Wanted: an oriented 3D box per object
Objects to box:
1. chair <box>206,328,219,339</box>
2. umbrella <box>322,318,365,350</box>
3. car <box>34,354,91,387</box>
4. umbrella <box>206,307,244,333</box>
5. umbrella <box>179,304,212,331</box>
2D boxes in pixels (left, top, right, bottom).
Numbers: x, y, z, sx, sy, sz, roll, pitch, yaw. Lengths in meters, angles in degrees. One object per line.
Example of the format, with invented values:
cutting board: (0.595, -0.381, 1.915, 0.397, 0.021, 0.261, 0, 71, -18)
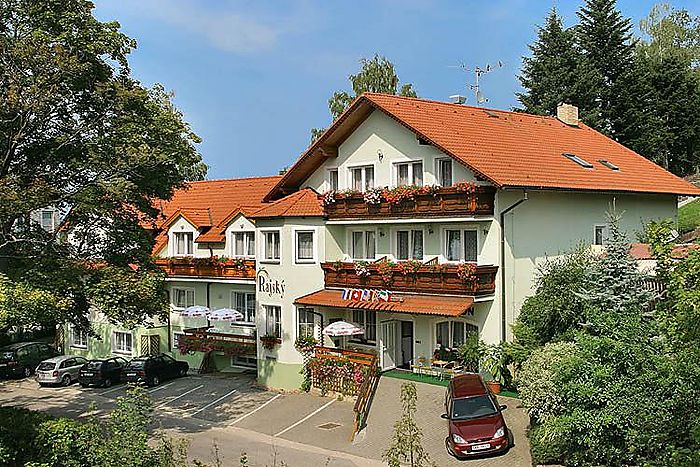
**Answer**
chair: (-9.852, 7.242, 52.940, 0.706, 0.526, 0.772, 0, 2, 17)
umbrella: (-0.431, 6.511, 46.602, 2.472, 2.138, 2.548, -9, 12, -6)
car: (-20.210, 9.779, 52.369, 1.747, 1.457, 3.938, 0, 5, 26)
umbrella: (-8.878, 6.507, 51.936, 2.137, 1.468, 2.140, 2, -2, -29)
umbrella: (-11.331, 6.667, 54.112, 2.299, 2.414, 2.283, 0, -4, 0)
